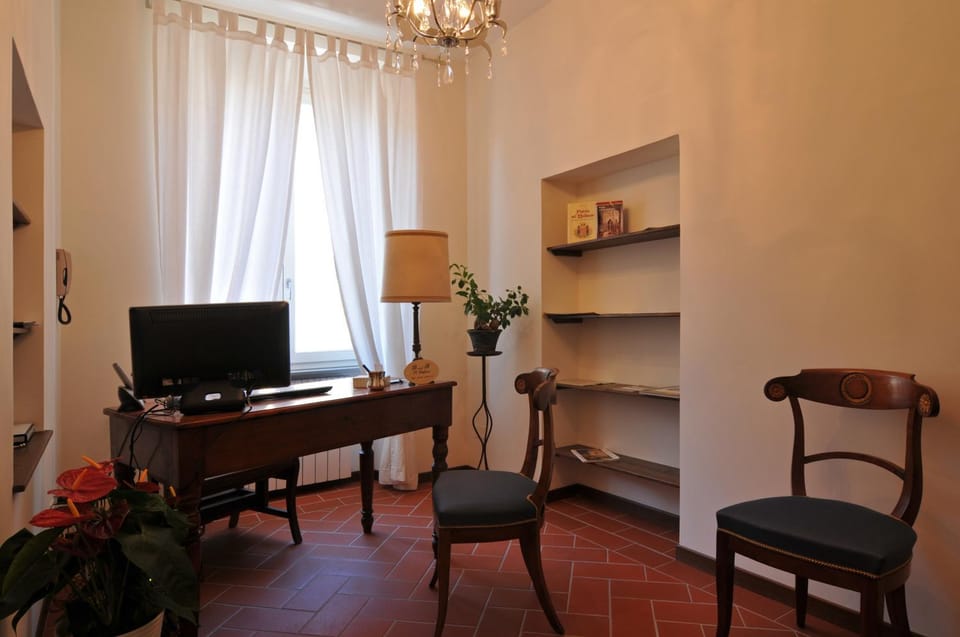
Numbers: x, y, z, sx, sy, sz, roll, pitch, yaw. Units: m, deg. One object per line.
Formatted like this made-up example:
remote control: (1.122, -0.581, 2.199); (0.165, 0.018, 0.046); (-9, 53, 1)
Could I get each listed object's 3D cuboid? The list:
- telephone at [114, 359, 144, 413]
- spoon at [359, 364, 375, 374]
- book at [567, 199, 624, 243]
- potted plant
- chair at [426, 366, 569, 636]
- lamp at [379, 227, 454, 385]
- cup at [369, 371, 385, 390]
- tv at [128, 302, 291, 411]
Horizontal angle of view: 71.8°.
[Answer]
telephone: (-2.062, 0.399, 3.920); (0.203, 0.276, 0.213); (6, 1, -37)
spoon: (-0.878, 0.389, 5.215); (0.093, 0.130, 0.066); (7, 13, -1)
book: (0.893, -0.739, 5.065); (0.333, 0.243, 0.047); (3, 4, 45)
potted plant: (-0.046, -0.061, 5.541); (0.777, 0.772, 0.702); (6, -5, -38)
chair: (0.073, 1.043, 3.974); (0.815, 1.364, 1.040); (-2, 12, 4)
lamp: (-0.458, -0.138, 4.837); (0.488, 1.030, 0.856); (-3, 12, -4)
cup: (-0.671, 0.416, 4.463); (0.087, 0.112, 0.123); (2, -8, -21)
tv: (-1.530, 0.208, 3.763); (0.598, 0.432, 0.192); (-1, 6, -16)
